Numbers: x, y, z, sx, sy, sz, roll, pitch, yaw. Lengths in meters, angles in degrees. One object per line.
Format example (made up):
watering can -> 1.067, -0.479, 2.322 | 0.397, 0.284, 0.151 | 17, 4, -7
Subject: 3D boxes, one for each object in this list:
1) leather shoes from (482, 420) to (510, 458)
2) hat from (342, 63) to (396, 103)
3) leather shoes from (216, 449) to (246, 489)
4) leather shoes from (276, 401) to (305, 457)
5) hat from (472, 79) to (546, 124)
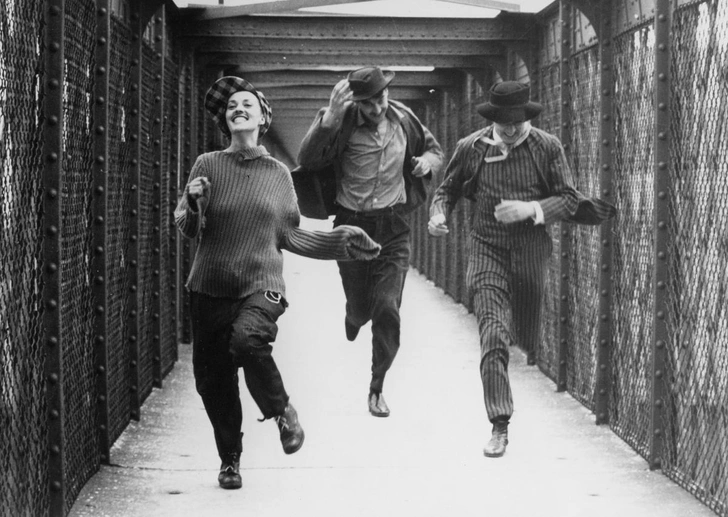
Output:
leather shoes -> 0.944, 1.263, 6.860 | 0.105, 0.261, 0.308 | 0, 2, 22
hat -> 0.010, -1.364, 7.738 | 0.289, 0.322, 0.122 | -6, -39, 38
leather shoes -> -0.875, 1.350, 6.255 | 0.105, 0.279, 0.342 | 4, -5, -11
leather shoes -> -0.473, 1.077, 6.118 | 0.169, 0.330, 0.190 | 0, 4, 0
hat -> 1.059, -1.176, 7.176 | 0.500, 0.243, 0.523 | 1, 21, 23
